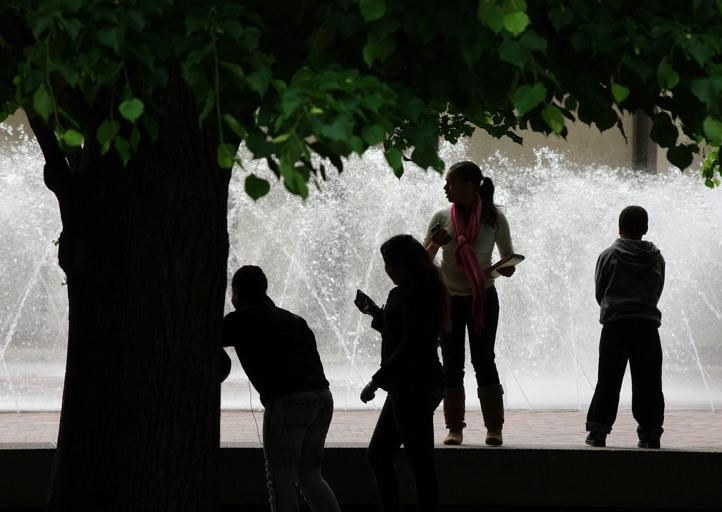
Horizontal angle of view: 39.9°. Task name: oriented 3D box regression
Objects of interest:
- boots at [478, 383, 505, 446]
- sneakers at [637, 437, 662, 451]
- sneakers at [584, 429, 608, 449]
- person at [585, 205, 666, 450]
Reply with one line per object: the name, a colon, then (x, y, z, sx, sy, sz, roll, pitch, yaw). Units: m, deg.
boots: (0.831, 1.015, 6.402, 0.162, 0.381, 0.253, 1, -4, 6)
sneakers: (1.843, 1.181, 6.379, 0.134, 0.082, 0.110, -1, -5, 30)
sneakers: (1.510, 1.179, 6.384, 0.069, 0.105, 0.156, 2, 1, -10)
person: (1.761, 0.556, 6.594, 0.475, 1.351, 0.463, 1, -4, 15)
